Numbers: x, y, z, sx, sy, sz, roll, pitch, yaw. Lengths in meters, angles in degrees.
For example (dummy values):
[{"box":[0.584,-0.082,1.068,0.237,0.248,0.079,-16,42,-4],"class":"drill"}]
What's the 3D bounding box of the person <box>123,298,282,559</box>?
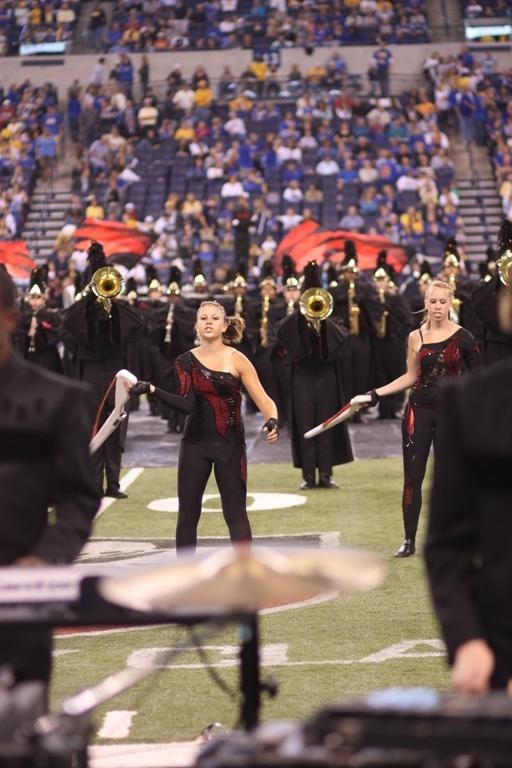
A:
[{"box":[-0.220,0.244,5.795,0.635,1.274,1.099,-3,9,0],"class":"person"}]
